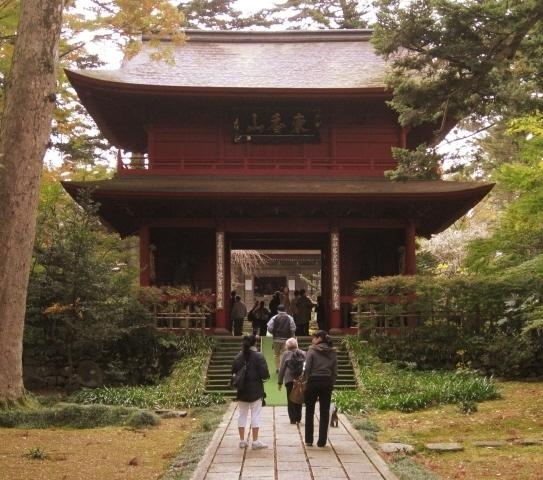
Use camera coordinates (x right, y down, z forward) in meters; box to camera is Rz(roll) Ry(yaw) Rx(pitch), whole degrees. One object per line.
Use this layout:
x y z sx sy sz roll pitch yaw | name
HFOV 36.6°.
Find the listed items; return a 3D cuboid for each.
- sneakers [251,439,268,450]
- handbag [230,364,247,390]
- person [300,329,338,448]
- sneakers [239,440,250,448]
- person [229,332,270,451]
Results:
-0.232 3.822 15.288 0.336 0.143 0.113 0 2 -4 | sneakers
-0.606 2.602 15.398 0.266 0.449 0.250 0 7 1 | handbag
0.888 2.819 15.486 0.609 2.091 0.629 3 8 20 | person
-0.523 3.820 15.356 0.169 0.138 0.188 -1 7 -10 | sneakers
-0.403 2.864 15.474 0.683 2.012 0.828 0 7 -3 | person
